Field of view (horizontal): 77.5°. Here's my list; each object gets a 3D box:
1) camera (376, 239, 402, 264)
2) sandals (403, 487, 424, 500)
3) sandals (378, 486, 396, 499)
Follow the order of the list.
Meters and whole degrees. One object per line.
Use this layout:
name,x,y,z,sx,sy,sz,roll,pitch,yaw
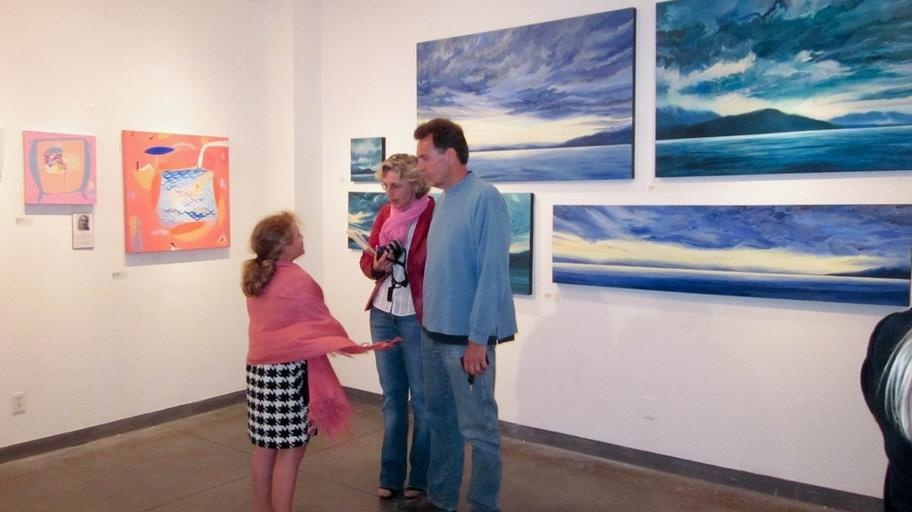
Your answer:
camera,-0.514,-0.046,4.644,0.271,0.114,0.119,-5,12,-11
sandals,-0.354,1.974,4.723,0.168,0.054,0.084,3,6,-16
sandals,-0.580,1.997,4.788,0.161,0.062,0.070,23,1,-9
